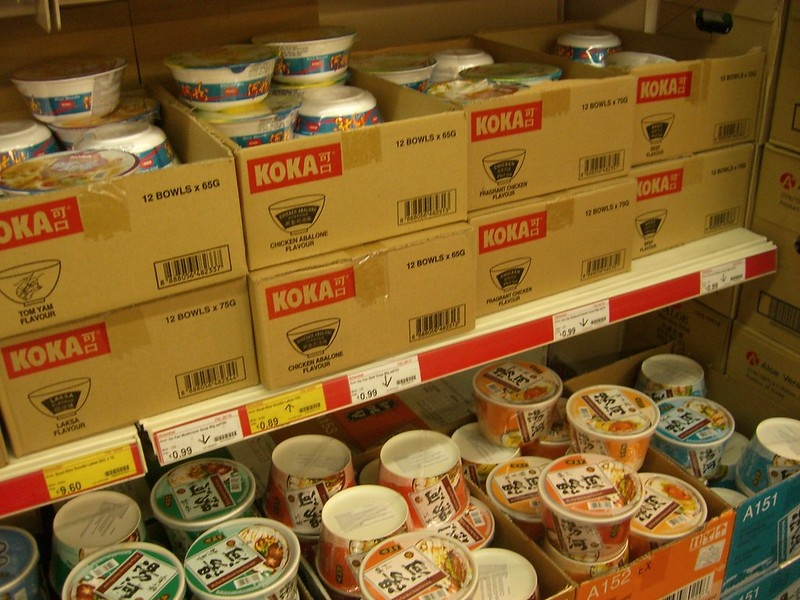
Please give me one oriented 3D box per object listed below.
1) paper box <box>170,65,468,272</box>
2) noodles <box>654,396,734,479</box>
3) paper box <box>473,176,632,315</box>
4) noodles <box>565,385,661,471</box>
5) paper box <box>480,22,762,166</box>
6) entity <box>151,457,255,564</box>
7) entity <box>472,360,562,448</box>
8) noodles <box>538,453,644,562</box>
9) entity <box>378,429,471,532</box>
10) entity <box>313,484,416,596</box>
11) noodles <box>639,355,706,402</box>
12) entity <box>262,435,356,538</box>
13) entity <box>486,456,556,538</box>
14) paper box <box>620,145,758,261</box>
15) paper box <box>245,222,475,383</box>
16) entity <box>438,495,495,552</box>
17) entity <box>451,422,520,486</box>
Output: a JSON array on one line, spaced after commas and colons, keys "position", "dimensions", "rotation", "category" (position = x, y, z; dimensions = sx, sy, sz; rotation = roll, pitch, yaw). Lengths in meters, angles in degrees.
[{"position": [-0.122, -0.364, 1.283], "dimensions": [0.472, 0.212, 0.456], "rotation": [-19, 37, -23], "category": "paper box"}, {"position": [0.879, 0.421, 1.890], "dimensions": [0.177, 0.139, 0.189], "rotation": [-22, 38, -39], "category": "noodles"}, {"position": [0.312, -0.196, 1.743], "dimensions": [0.529, 0.270, 0.380], "rotation": [-15, 27, -24], "category": "paper box"}, {"position": [0.617, 0.377, 1.815], "dimensions": [0.257, 0.166, 0.270], "rotation": [9, 29, 31], "category": "noodles"}, {"position": [0.712, -0.563, 1.995], "dimensions": [0.574, 0.275, 0.582], "rotation": [-18, 38, -21], "category": "paper box"}, {"position": [-0.487, 0.503, 1.586], "dimensions": [0.203, 0.164, 0.226], "rotation": [2, 33, 0], "category": "entity"}, {"position": [0.338, 0.305, 1.849], "dimensions": [0.238, 0.151, 0.240], "rotation": [3, 31, 9], "category": "entity"}, {"position": [0.465, 0.491, 1.549], "dimensions": [0.221, 0.154, 0.223], "rotation": [-7, 33, -2], "category": "noodles"}, {"position": [0.066, 0.456, 1.654], "dimensions": [0.250, 0.138, 0.252], "rotation": [-14, 26, -12], "category": "entity"}, {"position": [-0.097, 0.536, 1.471], "dimensions": [0.210, 0.113, 0.212], "rotation": [-6, 33, -5], "category": "entity"}, {"position": [0.905, 0.251, 2.105], "dimensions": [0.159, 0.153, 0.161], "rotation": [-3, 29, 1], "category": "noodles"}, {"position": [-0.228, 0.466, 1.644], "dimensions": [0.261, 0.143, 0.267], "rotation": [8, 21, 13], "category": "entity"}, {"position": [0.329, 0.560, 1.730], "dimensions": [0.192, 0.147, 0.182], "rotation": [-9, 25, 14], "category": "entity"}, {"position": [0.796, -0.323, 1.899], "dimensions": [0.430, 0.255, 0.238], "rotation": [-15, 29, -15], "category": "paper box"}, {"position": [-0.126, -0.034, 1.492], "dimensions": [0.566, 0.259, 0.338], "rotation": [-18, 30, -32], "category": "paper box"}, {"position": [0.166, 0.575, 1.599], "dimensions": [0.112, 0.093, 0.125], "rotation": [-8, 38, -14], "category": "entity"}, {"position": [0.232, 0.435, 1.814], "dimensions": [0.144, 0.092, 0.145], "rotation": [24, 39, 36], "category": "entity"}]
